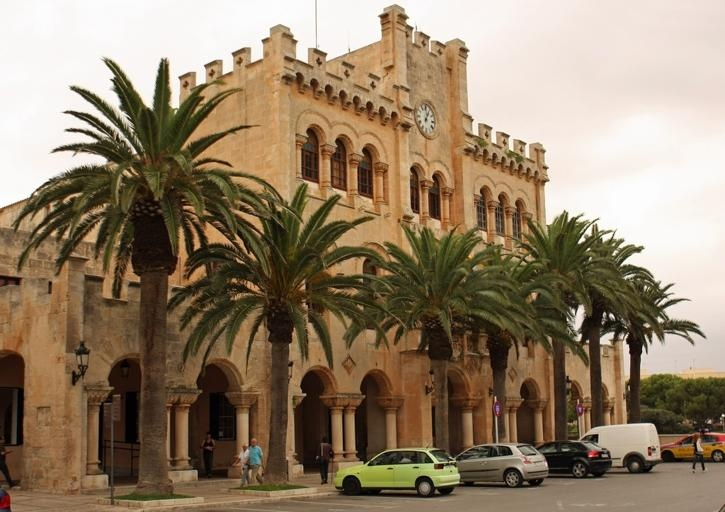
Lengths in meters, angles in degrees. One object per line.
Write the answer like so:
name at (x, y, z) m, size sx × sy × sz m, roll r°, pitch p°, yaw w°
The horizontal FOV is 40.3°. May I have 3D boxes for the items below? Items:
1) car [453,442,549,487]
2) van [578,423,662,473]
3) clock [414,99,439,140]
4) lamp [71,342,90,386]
car at (5.811, 8.751, 41.436) m, size 3.195 × 1.429 × 1.883 m, roll -2°, pitch -8°, yaw 30°
van at (12.450, 9.333, 47.798) m, size 3.529 × 1.957 × 2.131 m, roll -1°, pitch -8°, yaw 25°
clock at (3.412, -7.576, 55.132) m, size 0.205 × 2.118 × 2.010 m, roll -16°, pitch -21°, yaw 33°
lamp at (-10.683, 4.083, 37.524) m, size 0.511 × 1.536 × 0.787 m, roll 5°, pitch -19°, yaw -26°
